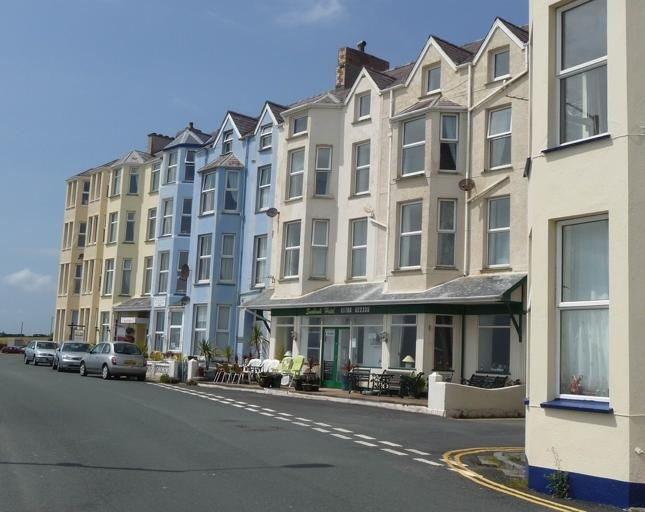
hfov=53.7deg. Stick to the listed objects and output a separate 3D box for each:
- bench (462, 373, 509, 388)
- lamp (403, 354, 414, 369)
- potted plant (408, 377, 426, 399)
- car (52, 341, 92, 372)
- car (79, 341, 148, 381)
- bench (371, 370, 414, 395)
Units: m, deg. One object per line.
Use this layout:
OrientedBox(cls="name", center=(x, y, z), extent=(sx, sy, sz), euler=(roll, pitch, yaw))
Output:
OrientedBox(cls="bench", center=(6.007, 4.495, 22.947), extent=(1.335, 0.624, 2.620), euler=(1, -14, 0))
OrientedBox(cls="lamp", center=(3.448, 4.176, 25.269), extent=(0.511, 0.544, 0.524), euler=(-5, -11, 40))
OrientedBox(cls="potted plant", center=(3.619, 4.985, 24.122), extent=(0.640, 0.908, 0.783), euler=(1, -6, 3))
OrientedBox(cls="car", center=(-14.167, 5.488, 35.975), extent=(1.496, 1.337, 3.740), euler=(4, -13, -22))
OrientedBox(cls="car", center=(-10.410, 5.172, 31.474), extent=(4.019, 1.838, 1.747), euler=(-8, -16, 34))
OrientedBox(cls="bench", center=(2.821, 5.056, 25.265), extent=(0.947, 0.709, 1.339), euler=(15, -18, -42))
